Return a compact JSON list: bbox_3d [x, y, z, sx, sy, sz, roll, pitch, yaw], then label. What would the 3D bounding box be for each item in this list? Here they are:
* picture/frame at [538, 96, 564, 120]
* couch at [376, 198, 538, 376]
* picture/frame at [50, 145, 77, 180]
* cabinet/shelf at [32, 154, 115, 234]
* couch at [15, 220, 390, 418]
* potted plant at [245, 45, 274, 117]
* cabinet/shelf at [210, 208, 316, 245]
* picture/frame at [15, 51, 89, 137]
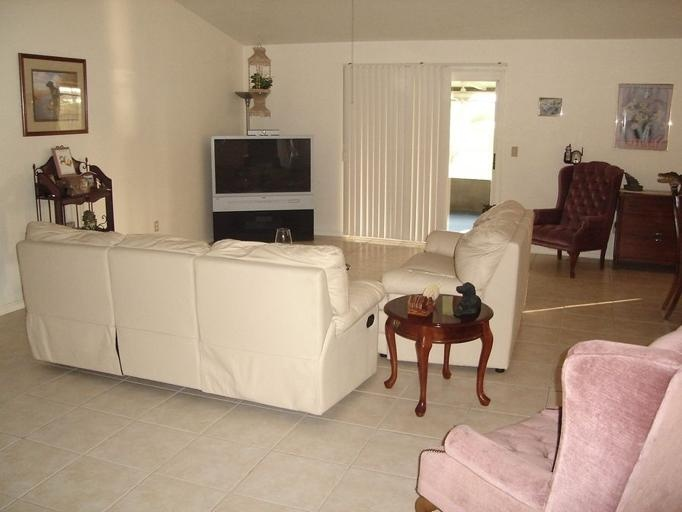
[{"bbox_3d":[2.933,-2.077,7.296,0.329,0.269,0.034,4,17,20],"label":"picture/frame"},{"bbox_3d":[1.088,0.141,4.818,1.135,1.047,2.043,5,12,19],"label":"couch"},{"bbox_3d":[-2.878,-0.955,5.407,0.054,0.371,0.331,-7,19,19],"label":"picture/frame"},{"bbox_3d":[-2.789,-0.548,5.515,0.327,0.886,0.680,13,21,20],"label":"cabinet/shelf"},{"bbox_3d":[-1.063,0.321,3.862,2.532,1.032,0.971,5,11,23],"label":"couch"},{"bbox_3d":[-1.199,-2.531,7.684,0.378,0.926,0.372,-9,20,-30],"label":"potted plant"},{"bbox_3d":[-1.200,-0.441,7.986,1.516,0.540,0.465,1,-4,-10],"label":"cabinet/shelf"},{"bbox_3d":[-2.968,-1.656,5.317,0.041,0.927,1.004,5,8,25],"label":"picture/frame"}]
